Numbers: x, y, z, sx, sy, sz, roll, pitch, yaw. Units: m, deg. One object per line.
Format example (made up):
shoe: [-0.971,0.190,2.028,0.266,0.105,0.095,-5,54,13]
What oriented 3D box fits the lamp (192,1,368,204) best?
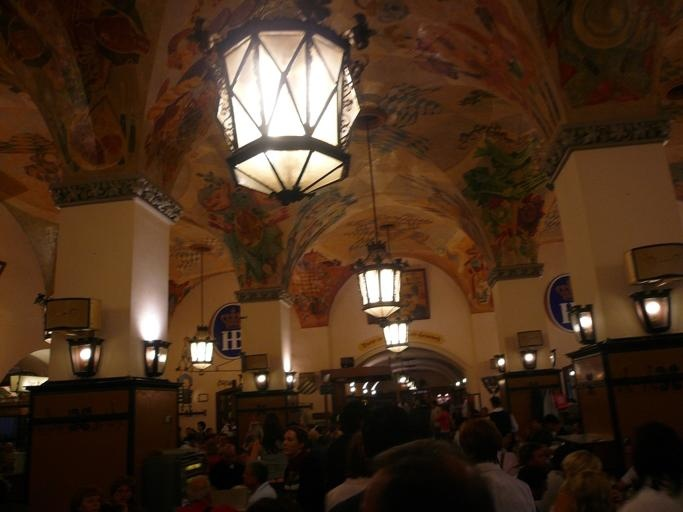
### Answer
lamp: [-0.468,-1.157,4.654,1.380,1.348,1.301,-8,-11,23]

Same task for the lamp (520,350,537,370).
lamp: [4.097,2.268,12.367,0.409,0.565,0.294,-2,-4,6]

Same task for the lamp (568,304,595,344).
lamp: [3.128,0.867,7.334,0.168,0.579,0.410,-3,-17,-5]

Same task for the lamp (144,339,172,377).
lamp: [-2.559,1.406,7.808,0.263,0.530,0.354,-6,-17,6]

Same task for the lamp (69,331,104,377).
lamp: [-3.322,1.307,7.276,0.403,0.496,0.255,-2,-17,-6]

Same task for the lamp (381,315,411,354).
lamp: [1.198,1.822,12.975,0.949,0.991,0.917,0,-18,-1]

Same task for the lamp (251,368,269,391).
lamp: [-1.797,2.745,12.577,0.335,0.436,0.130,0,-5,6]
